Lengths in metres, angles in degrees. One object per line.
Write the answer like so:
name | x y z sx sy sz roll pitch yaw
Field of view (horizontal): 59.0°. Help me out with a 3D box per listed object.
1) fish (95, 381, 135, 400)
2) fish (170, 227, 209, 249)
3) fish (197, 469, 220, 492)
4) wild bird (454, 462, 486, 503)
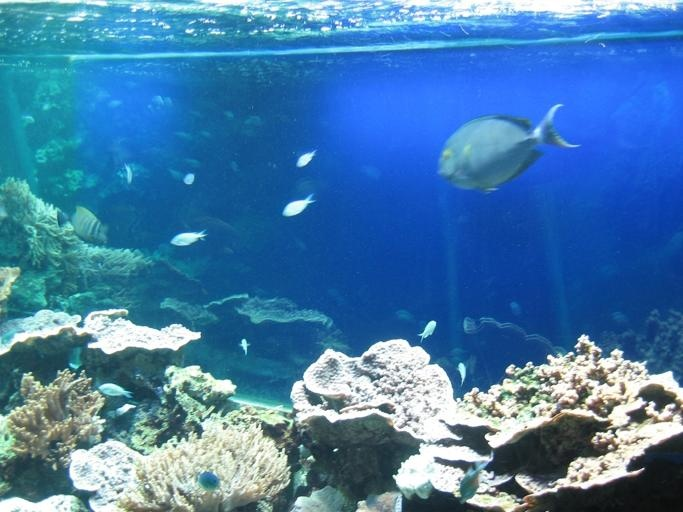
fish | -3.943 2.298 10.425 0.744 0.283 0.158 11 17 -3
fish | -3.774 -0.451 15.169 1.012 0.206 0.432 -14 -12 18
fish | -1.986 3.340 9.030 0.320 0.343 0.217 3 17 -1
wild bird | 1.845 3.100 8.430 0.249 0.656 0.416 18 22 39
